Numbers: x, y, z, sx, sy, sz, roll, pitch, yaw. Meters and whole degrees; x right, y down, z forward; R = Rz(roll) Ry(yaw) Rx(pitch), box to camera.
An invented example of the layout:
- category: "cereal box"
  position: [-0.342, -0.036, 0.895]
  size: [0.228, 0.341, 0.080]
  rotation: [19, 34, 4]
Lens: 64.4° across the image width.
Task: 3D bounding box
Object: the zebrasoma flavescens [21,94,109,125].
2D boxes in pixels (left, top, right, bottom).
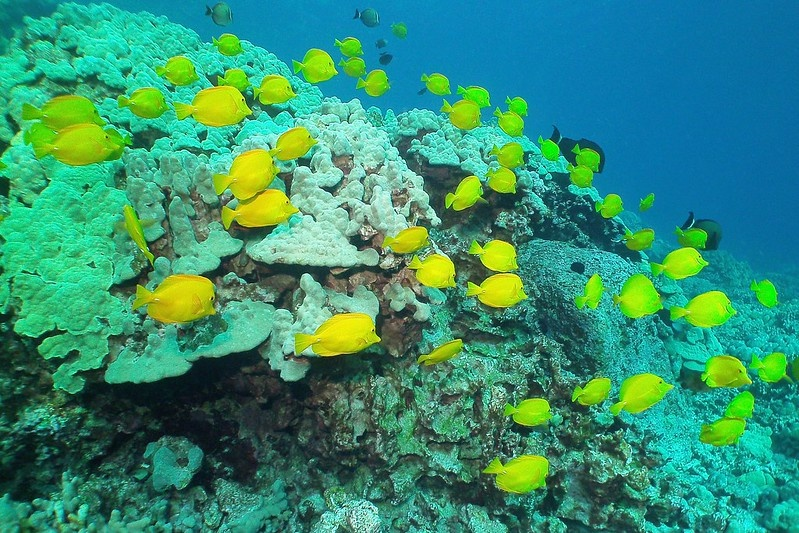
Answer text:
- category: "zebrasoma flavescens"
  position: [-4.719, -2.153, 8.872]
  size: [0.970, 0.405, 0.379]
  rotation: [-12, 78, -11]
